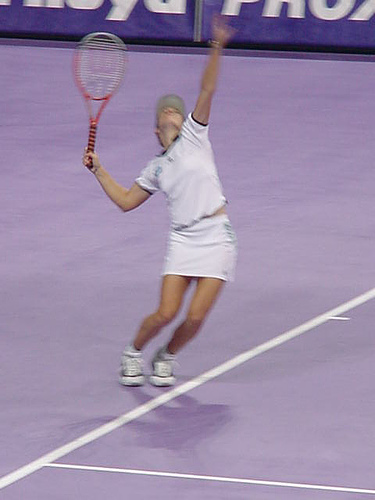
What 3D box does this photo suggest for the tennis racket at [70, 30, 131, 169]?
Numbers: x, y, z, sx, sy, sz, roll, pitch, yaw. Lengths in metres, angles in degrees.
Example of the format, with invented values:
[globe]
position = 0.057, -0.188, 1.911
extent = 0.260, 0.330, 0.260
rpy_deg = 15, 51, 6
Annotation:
[tennis racket]
position = -0.458, -0.722, 2.676
extent = 0.292, 0.648, 0.035
rpy_deg = 17, 24, 12

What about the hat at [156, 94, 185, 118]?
[hat]
position = -0.084, -0.697, 2.607
extent = 0.138, 0.128, 0.164
rpy_deg = 2, 8, -3
